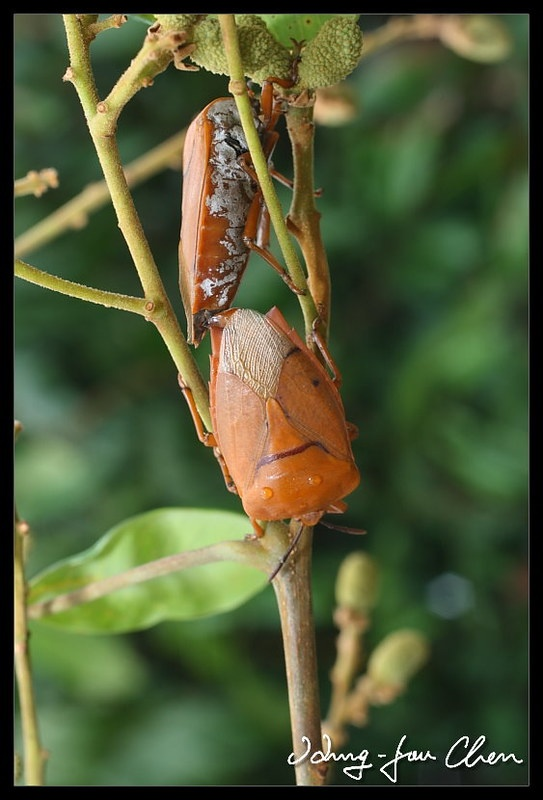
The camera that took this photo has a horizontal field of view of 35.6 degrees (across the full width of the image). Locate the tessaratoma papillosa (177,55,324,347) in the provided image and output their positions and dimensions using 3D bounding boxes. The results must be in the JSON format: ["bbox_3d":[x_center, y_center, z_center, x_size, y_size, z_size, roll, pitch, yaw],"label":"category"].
[{"bbox_3d":[-0.045,-0.171,0.768,0.071,0.199,0.160,6,-12,-38],"label":"tessaratoma papillosa"}]

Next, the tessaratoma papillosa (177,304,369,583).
[{"bbox_3d":[0.007,0.032,0.766,0.156,0.079,0.223,-22,-82,7],"label":"tessaratoma papillosa"}]
